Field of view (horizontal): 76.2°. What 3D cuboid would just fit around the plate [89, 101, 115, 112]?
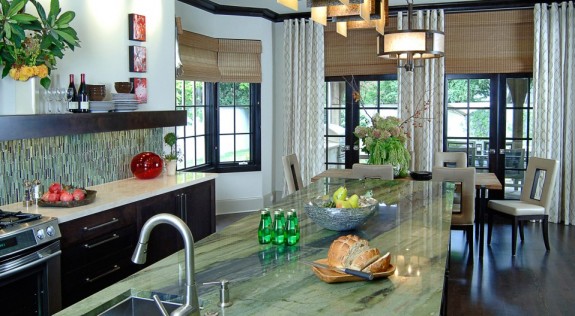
[{"bbox_3d":[-2.225,-0.625,4.402,0.273,0.130,0.113,-7,15,-23],"label":"plate"}]

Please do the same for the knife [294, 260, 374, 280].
[{"bbox_3d":[0.340,0.766,2.510,0.584,0.046,0.097,5,12,33],"label":"knife"}]

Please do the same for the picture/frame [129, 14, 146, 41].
[{"bbox_3d":[-1.991,-1.731,4.864,0.100,0.334,0.234,7,17,33],"label":"picture/frame"}]

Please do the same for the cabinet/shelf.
[{"bbox_3d":[-1.930,0.857,4.709,0.788,1.053,2.359,11,13,26],"label":"cabinet/shelf"}]

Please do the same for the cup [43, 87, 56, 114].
[{"bbox_3d":[-2.626,-0.640,4.066,0.137,0.268,0.135,-2,14,0],"label":"cup"}]

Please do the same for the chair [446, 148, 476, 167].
[{"bbox_3d":[3.482,-0.059,7.390,0.521,0.553,0.446,-1,5,-11],"label":"chair"}]

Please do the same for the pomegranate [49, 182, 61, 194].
[{"bbox_3d":[-2.452,0.315,3.913,0.122,0.123,0.113,-1,5,-15],"label":"pomegranate"}]

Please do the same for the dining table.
[{"bbox_3d":[2.326,1.042,6.311,2.353,1.021,1.238,3,-10,29],"label":"dining table"}]

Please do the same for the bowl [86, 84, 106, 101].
[{"bbox_3d":[-2.282,-0.786,4.387,0.205,0.142,0.205,0,0,0],"label":"bowl"}]

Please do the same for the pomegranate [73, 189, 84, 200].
[{"bbox_3d":[-2.181,0.383,3.837,0.075,0.069,0.082,-14,46,7],"label":"pomegranate"}]

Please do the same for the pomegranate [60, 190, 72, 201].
[{"bbox_3d":[-2.267,0.387,3.816,0.108,0.114,0.100,6,14,-9],"label":"pomegranate"}]

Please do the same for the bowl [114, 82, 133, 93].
[{"bbox_3d":[-2.045,-0.889,4.626,0.172,0.093,0.161,-1,0,0],"label":"bowl"}]

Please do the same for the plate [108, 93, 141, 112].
[{"bbox_3d":[-2.028,-0.703,4.587,0.255,0.147,0.267,-3,4,-43],"label":"plate"}]

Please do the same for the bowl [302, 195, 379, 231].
[{"bbox_3d":[0.468,0.507,3.274,0.670,0.212,0.625,0,-1,0],"label":"bowl"}]

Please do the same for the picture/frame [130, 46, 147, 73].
[{"bbox_3d":[-1.988,-1.328,4.896,0.083,0.332,0.248,9,18,37],"label":"picture/frame"}]

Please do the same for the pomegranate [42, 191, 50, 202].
[{"bbox_3d":[-2.493,0.394,3.833,0.081,0.055,0.094,12,24,-1],"label":"pomegranate"}]

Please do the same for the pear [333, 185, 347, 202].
[{"bbox_3d":[0.462,0.315,3.198,0.106,0.136,0.087,47,13,28],"label":"pear"}]

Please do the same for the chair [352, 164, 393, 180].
[{"bbox_3d":[1.229,0.181,5.271,0.342,0.251,0.324,5,7,35],"label":"chair"}]

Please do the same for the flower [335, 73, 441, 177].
[{"bbox_3d":[1.595,-0.381,6.008,1.235,1.251,0.788,-8,8,3],"label":"flower"}]

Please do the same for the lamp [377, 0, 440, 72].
[{"bbox_3d":[1.850,-1.805,5.317,0.834,1.008,1.615,5,14,25],"label":"lamp"}]
